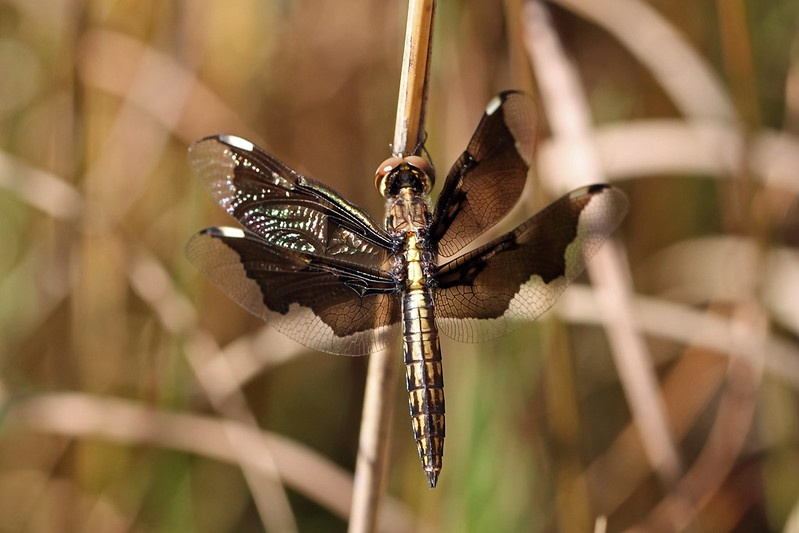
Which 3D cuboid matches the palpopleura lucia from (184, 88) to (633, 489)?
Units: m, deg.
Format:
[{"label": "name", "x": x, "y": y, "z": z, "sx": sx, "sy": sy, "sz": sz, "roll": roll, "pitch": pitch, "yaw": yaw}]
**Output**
[{"label": "palpopleura lucia", "x": 0.019, "y": 0.017, "z": 1.026, "sx": 0.535, "sy": 0.441, "sz": 0.161, "roll": -11, "pitch": -30, "yaw": 2}]
